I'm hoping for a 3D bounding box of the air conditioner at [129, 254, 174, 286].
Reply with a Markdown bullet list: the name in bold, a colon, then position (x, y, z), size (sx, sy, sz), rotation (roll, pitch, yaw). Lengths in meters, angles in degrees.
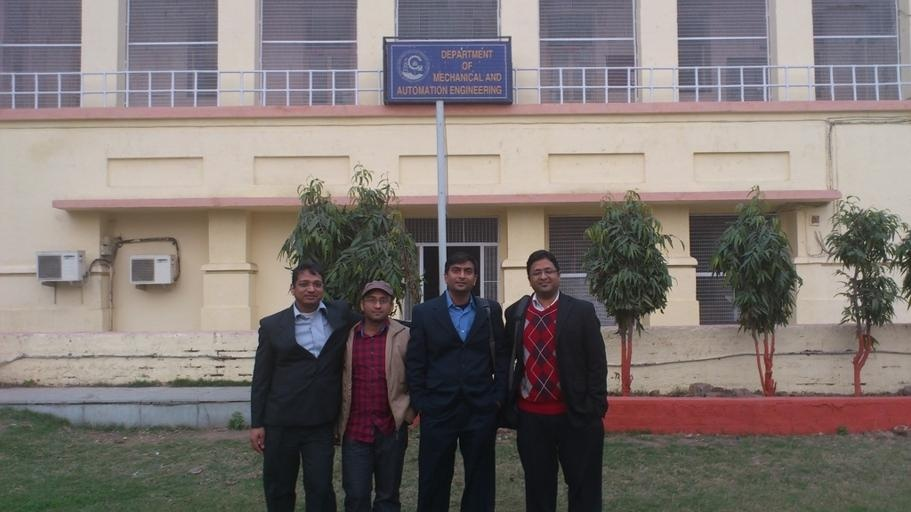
- **air conditioner**: position (-8.929, 0.436, 32.886), size (1.584, 0.940, 0.800), rotation (-1, -6, -5)
